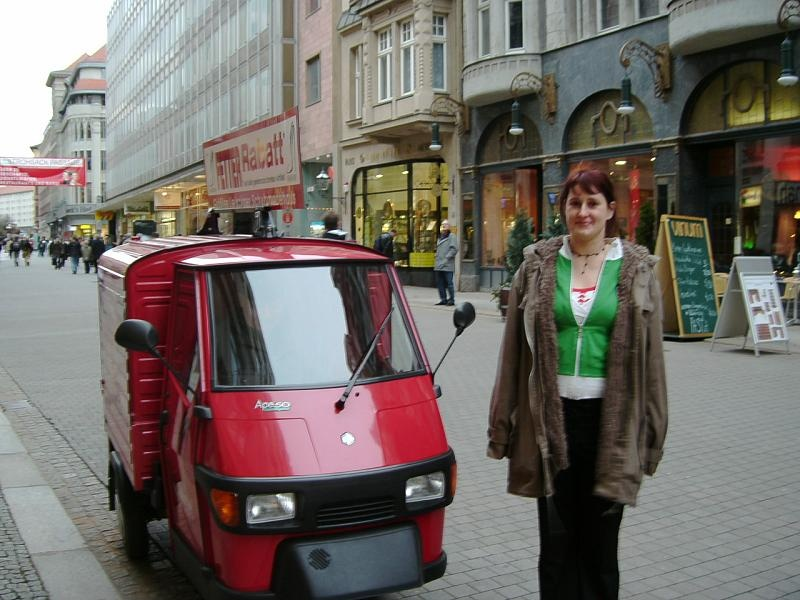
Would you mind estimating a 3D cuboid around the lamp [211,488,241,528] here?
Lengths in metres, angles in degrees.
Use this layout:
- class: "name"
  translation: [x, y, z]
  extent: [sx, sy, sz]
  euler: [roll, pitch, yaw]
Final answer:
- class: "lamp"
  translation: [-0.930, 1.095, 4.199]
  extent: [0.141, 0.163, 0.183]
  euler: [2, 3, -11]

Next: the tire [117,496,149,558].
- class: "tire"
  translation: [-1.829, 1.540, 5.405]
  extent: [0.121, 0.445, 0.395]
  euler: [-19, 7, -28]
